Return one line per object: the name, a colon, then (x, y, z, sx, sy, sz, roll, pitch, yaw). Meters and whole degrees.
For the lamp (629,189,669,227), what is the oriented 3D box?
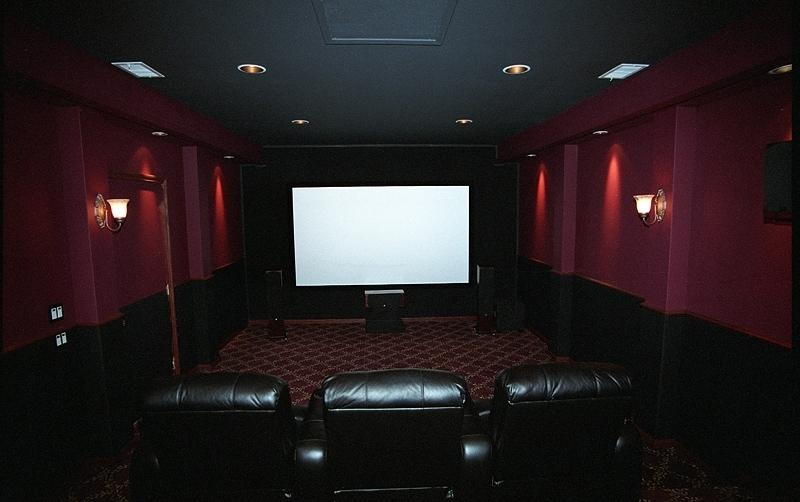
lamp: (2.450, -0.413, 4.975, 0.362, 0.400, 0.254, 4, -1, 5)

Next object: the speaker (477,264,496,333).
speaker: (1.269, 0.742, 7.473, 0.315, 0.952, 0.210, 0, 2, -8)

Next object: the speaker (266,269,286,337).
speaker: (-1.776, 0.791, 7.361, 0.246, 0.955, 0.246, -1, 3, -29)

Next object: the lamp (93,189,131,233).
lamp: (-2.708, -0.371, 5.006, 0.323, 0.460, 0.309, 1, 6, -1)
